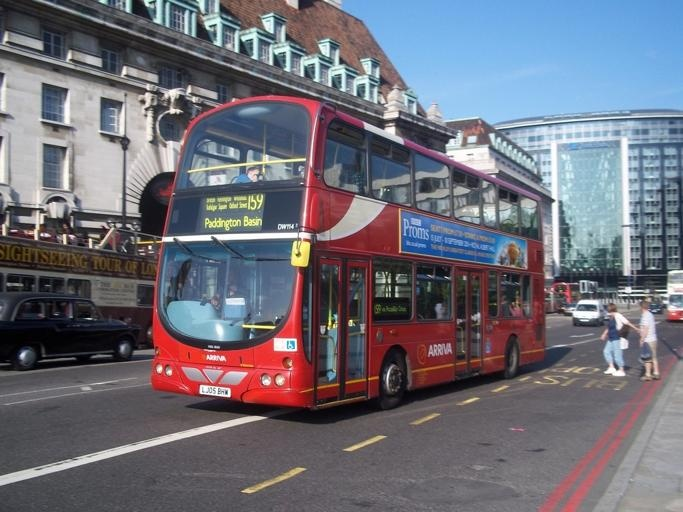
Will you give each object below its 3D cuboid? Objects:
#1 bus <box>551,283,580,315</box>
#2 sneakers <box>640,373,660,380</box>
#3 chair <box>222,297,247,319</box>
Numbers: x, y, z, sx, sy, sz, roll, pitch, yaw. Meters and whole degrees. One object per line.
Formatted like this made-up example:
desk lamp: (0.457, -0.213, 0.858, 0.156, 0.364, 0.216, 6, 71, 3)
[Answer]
bus: (27.946, 4.913, 81.962, 1.764, 3.419, 6.135, -3, -2, 41)
sneakers: (8.115, 3.202, 17.867, 0.486, 0.230, 0.189, 2, -2, 6)
chair: (-1.795, 0.862, 11.318, 0.306, 0.310, 0.160, -2, -6, 22)
